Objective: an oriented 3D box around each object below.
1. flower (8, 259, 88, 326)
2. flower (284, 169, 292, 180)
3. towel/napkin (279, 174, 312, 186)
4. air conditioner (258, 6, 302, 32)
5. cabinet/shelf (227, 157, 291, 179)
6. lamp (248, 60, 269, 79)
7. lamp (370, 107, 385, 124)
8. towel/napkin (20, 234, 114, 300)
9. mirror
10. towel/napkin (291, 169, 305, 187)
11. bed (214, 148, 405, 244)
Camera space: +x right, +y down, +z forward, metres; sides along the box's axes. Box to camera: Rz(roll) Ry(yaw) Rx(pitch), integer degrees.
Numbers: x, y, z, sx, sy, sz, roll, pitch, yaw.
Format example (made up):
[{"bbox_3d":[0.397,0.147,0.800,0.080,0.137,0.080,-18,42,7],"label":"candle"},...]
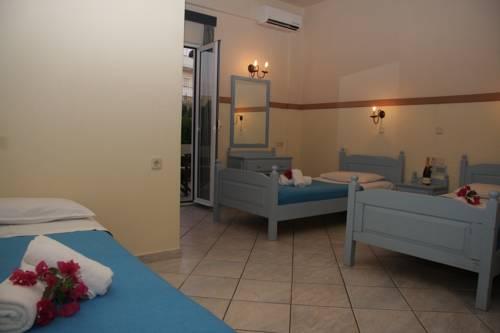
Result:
[{"bbox_3d":[-1.179,0.710,2.076,0.206,0.341,0.372,-35,11,2],"label":"flower"},{"bbox_3d":[0.596,0.127,5.261,0.136,0.170,0.097,-12,1,-27],"label":"flower"},{"bbox_3d":[0.721,0.218,5.110,0.266,0.095,0.260,-2,4,-42],"label":"towel/napkin"},{"bbox_3d":[0.611,-3.003,6.754,0.963,0.344,0.236,-5,12,-32],"label":"air conditioner"},{"bbox_3d":[0.149,-0.018,6.244,1.253,0.358,0.346,-3,6,-35],"label":"cabinet/shelf"},{"bbox_3d":[0.147,-1.903,6.686,0.477,0.348,0.316,-3,4,-42],"label":"lamp"},{"bbox_3d":[2.291,-0.918,6.010,0.088,0.305,0.274,-5,12,-32],"label":"lamp"},{"bbox_3d":[-1.174,0.567,2.208,0.493,0.356,0.529,1,5,-30],"label":"towel/napkin"},{"bbox_3d":[0.042,-1.047,6.609,0.944,1.309,0.050,-8,11,-42],"label":"mirror"},{"bbox_3d":[0.723,0.171,5.140,0.160,0.267,0.098,-13,-18,-2],"label":"towel/napkin"},{"bbox_3d":[0.946,0.333,5.586,2.665,1.280,1.446,-1,4,-37],"label":"bed"}]
